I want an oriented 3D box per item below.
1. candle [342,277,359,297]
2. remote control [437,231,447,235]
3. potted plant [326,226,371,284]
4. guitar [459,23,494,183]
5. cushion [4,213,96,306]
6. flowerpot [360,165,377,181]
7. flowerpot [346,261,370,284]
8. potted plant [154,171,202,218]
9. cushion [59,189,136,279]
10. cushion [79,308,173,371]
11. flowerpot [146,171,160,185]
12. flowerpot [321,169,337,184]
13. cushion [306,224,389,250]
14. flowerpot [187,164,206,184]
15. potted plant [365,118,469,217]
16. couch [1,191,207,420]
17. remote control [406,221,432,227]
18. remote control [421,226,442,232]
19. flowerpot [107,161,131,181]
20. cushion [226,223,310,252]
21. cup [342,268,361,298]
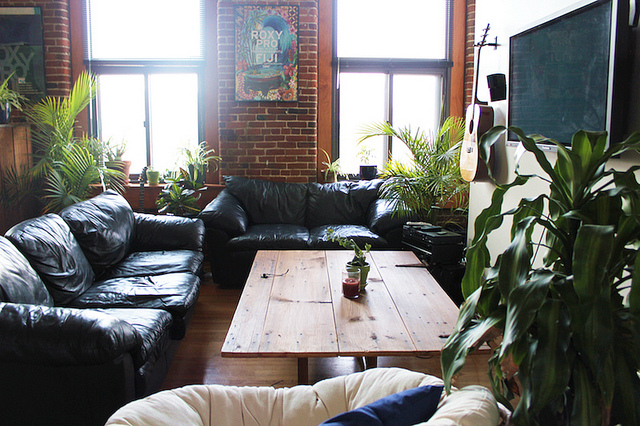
[{"bbox_3d":[0.196,0.480,3.144,0.098,0.108,0.113,0,1,1],"label":"candle"},{"bbox_3d":[1.070,0.182,4.248,0.084,0.009,0.100,1,8,10],"label":"remote control"},{"bbox_3d":[0.214,0.312,3.346,0.286,0.401,0.162,2,4,30],"label":"potted plant"},{"bbox_3d":[1.379,-0.949,4.212,0.233,1.378,0.572,1,10,7],"label":"guitar"},{"bbox_3d":[-1.771,0.328,3.185,0.269,0.388,0.511,-4,15,-6],"label":"cushion"},{"bbox_3d":[0.556,-0.461,5.714,0.200,0.164,0.169,0,2,0],"label":"flowerpot"},{"bbox_3d":[0.268,0.403,3.235,0.134,0.118,0.135,0,2,-2],"label":"flowerpot"},{"bbox_3d":[-1.545,-0.124,5.311,0.480,0.213,0.476,31,39,26],"label":"potted plant"},{"bbox_3d":[-1.743,0.192,3.799,0.231,0.454,0.641,-5,15,9],"label":"cushion"},{"bbox_3d":[-1.171,0.731,2.956,0.407,0.160,0.410,15,-1,-2],"label":"cushion"},{"bbox_3d":[-1.945,-0.397,5.630,0.144,0.155,0.139,-6,11,-37],"label":"flowerpot"},{"bbox_3d":[0.096,-0.432,5.823,0.159,0.119,0.156,0,4,-2],"label":"flowerpot"},{"bbox_3d":[0.276,0.240,4.953,0.803,0.177,0.702,0,8,2],"label":"cushion"},{"bbox_3d":[-1.426,-0.450,5.697,0.196,0.224,0.207,2,13,-2],"label":"flowerpot"},{"bbox_3d":[1.035,-0.258,5.179,1.087,1.103,1.102,-3,-4,34],"label":"potted plant"},{"bbox_3d":[-1.323,0.580,3.030,0.518,0.532,1.322,1,8,-8],"label":"couch"},{"bbox_3d":[0.931,0.106,4.581,0.242,0.033,0.231,1,8,12],"label":"remote control"},{"bbox_3d":[1.007,0.149,4.379,0.184,0.030,0.130,1,8,10],"label":"remote control"},{"bbox_3d":[-2.370,-0.480,5.687,0.206,0.227,0.208,3,8,27],"label":"flowerpot"},{"bbox_3d":[-0.502,0.251,4.914,0.780,0.172,0.686,0,8,0],"label":"cushion"},{"bbox_3d":[0.196,0.469,3.181,0.144,0.159,0.125,2,4,33],"label":"cup"}]
